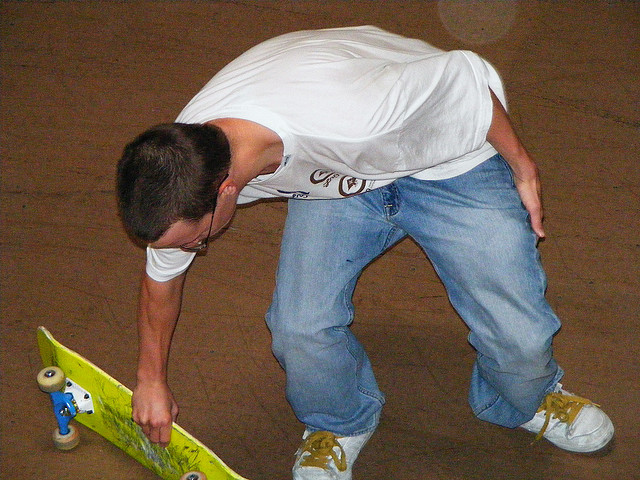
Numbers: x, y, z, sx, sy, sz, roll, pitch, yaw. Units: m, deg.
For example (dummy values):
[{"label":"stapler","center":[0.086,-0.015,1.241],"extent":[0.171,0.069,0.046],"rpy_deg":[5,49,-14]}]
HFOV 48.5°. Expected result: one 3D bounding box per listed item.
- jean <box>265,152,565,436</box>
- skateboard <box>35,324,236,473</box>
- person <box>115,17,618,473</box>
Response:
[{"label":"jean","center":[0.374,0.237,2.951],"extent":[1.193,1.185,0.567],"rpy_deg":[-1,34,-4]},{"label":"skateboard","center":[-0.805,0.723,3.087],"extent":[0.968,0.244,0.171],"rpy_deg":[30,37,12]},{"label":"person","center":[0.177,0.106,2.836],"extent":[1.872,1.699,0.930],"rpy_deg":[-4,34,-10]}]
